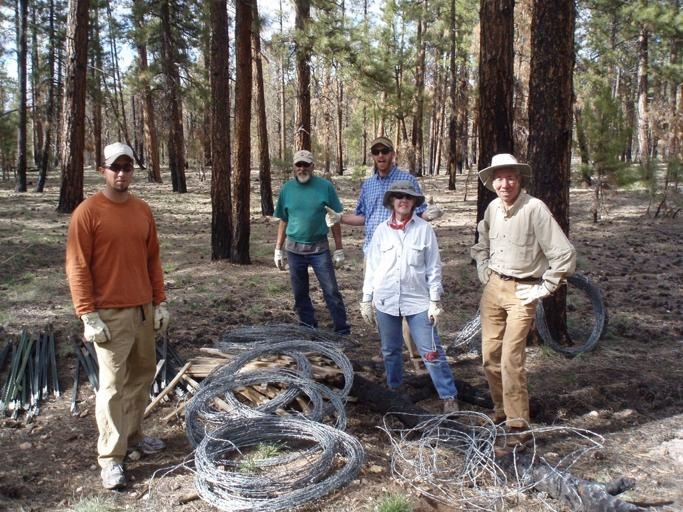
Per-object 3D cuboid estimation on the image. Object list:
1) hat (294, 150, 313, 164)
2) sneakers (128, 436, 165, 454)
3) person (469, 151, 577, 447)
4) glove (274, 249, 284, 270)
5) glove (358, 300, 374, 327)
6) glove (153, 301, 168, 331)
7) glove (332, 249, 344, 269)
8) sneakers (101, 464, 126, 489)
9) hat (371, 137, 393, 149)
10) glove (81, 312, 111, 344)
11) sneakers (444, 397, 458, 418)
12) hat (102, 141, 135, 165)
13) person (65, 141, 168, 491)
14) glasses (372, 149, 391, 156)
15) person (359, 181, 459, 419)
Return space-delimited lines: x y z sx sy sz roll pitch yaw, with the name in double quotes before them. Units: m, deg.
"hat" -0.625 -1.577 11.058 0.287 0.204 0.274 -2 7 -1
"sneakers" -2.496 2.415 9.007 0.451 0.244 0.206 -3 30 -9
"person" 2.229 0.510 8.940 1.200 3.629 0.802 1 6 21
"glove" -1.081 0.046 11.415 0.084 0.325 0.216 8 18 35
"glove" 0.342 0.786 9.892 0.199 0.406 0.366 -1 -6 2
"glove" -2.339 0.770 8.987 0.202 0.324 0.111 5 -5 -23
"glove" -0.062 0.024 11.307 0.166 0.285 0.092 -3 0 -1
"sneakers" -2.795 2.674 8.529 0.174 0.200 0.386 2 -4 -34
"hat" 0.586 -1.668 10.286 0.351 0.180 0.220 -3 7 -8
"glove" -3.033 0.863 8.568 0.293 0.406 0.162 -6 2 -24
"sneakers" 1.421 1.995 9.249 0.144 0.189 0.444 -2 -12 7
"hat" -2.779 -1.277 8.664 0.355 0.281 0.266 -4 7 -21
"person" -2.757 0.699 8.661 1.150 4.179 0.645 -4 6 -24
"glasses" 0.577 -1.543 10.300 0.315 0.137 0.137 -2 7 1
"person" 0.880 0.500 9.442 1.291 3.060 0.594 0 6 11
